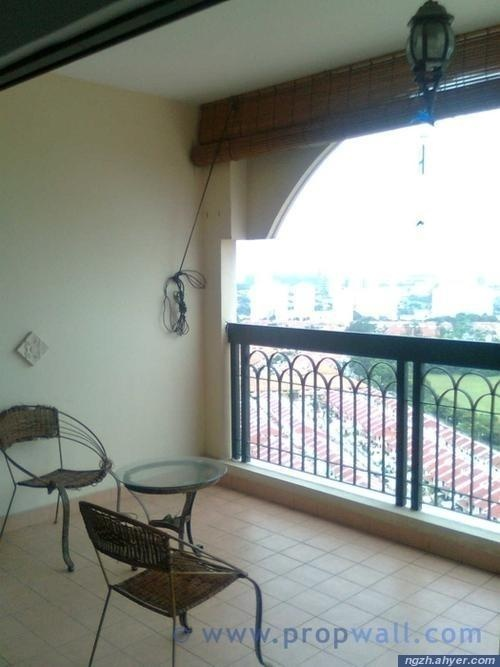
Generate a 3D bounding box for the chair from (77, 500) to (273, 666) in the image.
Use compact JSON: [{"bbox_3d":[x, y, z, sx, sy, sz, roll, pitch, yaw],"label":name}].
[{"bbox_3d":[-0.322,1.099,2.548,0.419,0.647,0.476,18,31,36],"label":"chair"}]
